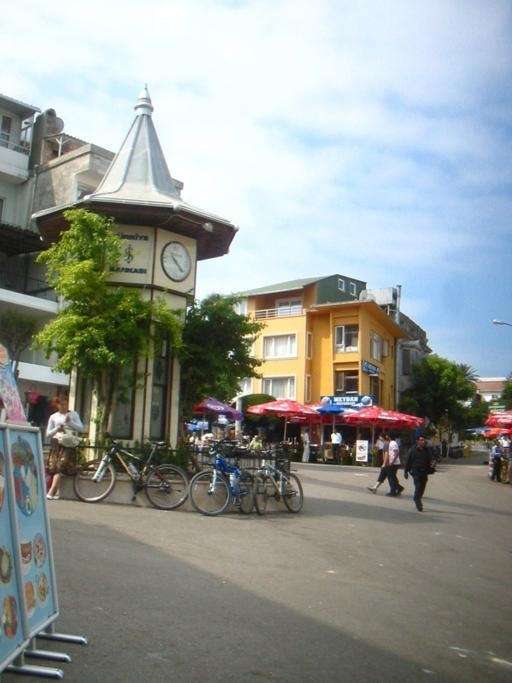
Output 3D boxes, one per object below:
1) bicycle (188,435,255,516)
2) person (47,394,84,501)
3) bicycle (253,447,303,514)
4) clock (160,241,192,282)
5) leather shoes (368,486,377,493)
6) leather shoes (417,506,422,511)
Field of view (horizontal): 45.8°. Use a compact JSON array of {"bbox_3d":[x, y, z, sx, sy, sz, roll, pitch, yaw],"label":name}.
[{"bbox_3d":[-0.464,2.471,10.889,0.876,1.202,1.862,-16,-20,39],"label":"bicycle"},{"bbox_3d":[-3.430,1.911,10.752,0.594,1.300,0.619,5,-3,-14],"label":"person"},{"bbox_3d":[0.406,2.686,11.594,0.762,1.122,1.761,-11,-16,34],"label":"bicycle"},{"bbox_3d":[-1.838,-1.796,13.655,0.050,0.737,0.742,-13,-56,29],"label":"clock"},{"bbox_3d":[3.355,4.233,17.445,0.199,0.207,0.691,4,-4,8],"label":"leather shoes"},{"bbox_3d":[3.593,3.642,13.272,0.080,0.114,0.027,-4,2,-35],"label":"leather shoes"}]
